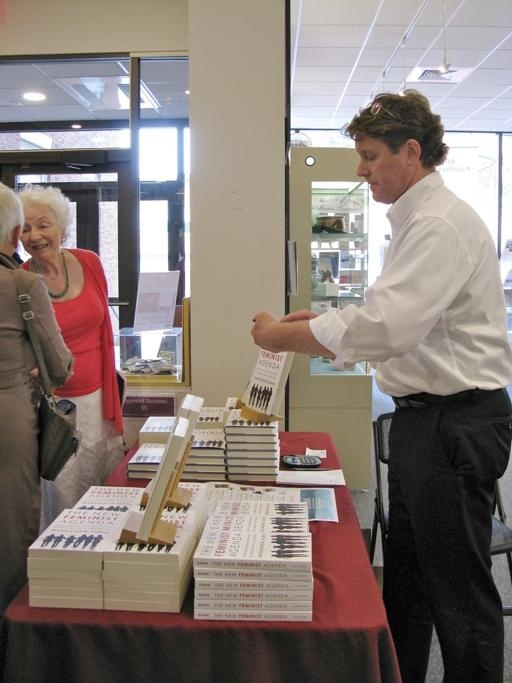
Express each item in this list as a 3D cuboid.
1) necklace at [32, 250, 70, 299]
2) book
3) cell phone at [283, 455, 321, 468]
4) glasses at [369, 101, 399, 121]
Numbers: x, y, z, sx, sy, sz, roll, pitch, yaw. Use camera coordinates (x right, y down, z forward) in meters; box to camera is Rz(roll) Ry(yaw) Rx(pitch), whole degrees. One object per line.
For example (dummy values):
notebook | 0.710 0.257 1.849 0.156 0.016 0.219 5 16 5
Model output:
necklace | -0.826 -0.271 2.305 0.110 0.189 0.046 -15 3 0
book | -0.138 0.262 1.259 0.493 0.280 0.478 1 7 3
cell phone | 0.161 0.421 1.979 0.090 0.017 0.051 1 10 -2
glasses | 0.330 -0.585 1.445 0.071 0.021 0.041 22 -2 -13
